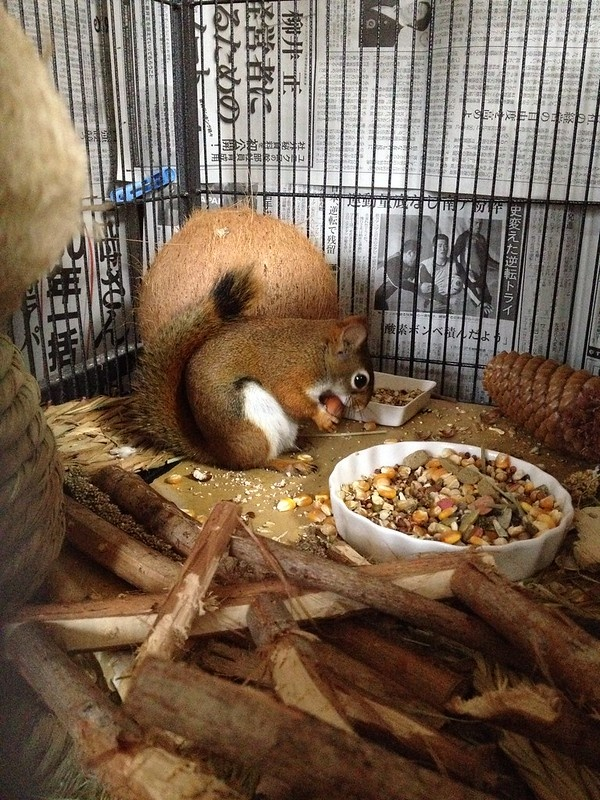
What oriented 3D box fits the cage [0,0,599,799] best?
[{"bbox_3d":[-0.012,0.105,0.627,0.560,0.516,0.427,-1,9,-25],"label":"cage"}]
